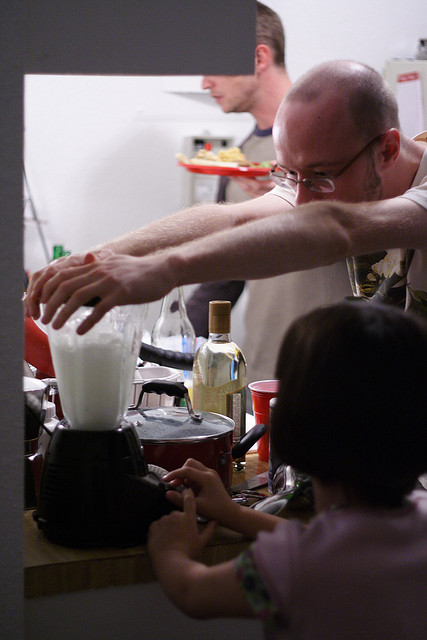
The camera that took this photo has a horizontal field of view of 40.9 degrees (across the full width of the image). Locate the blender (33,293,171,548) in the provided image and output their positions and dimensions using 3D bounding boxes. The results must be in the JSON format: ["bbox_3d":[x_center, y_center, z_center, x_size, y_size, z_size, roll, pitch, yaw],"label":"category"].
[{"bbox_3d":[-0.125,0.130,0.814,0.280,0.373,0.179,-1,2,-18],"label":"blender"}]

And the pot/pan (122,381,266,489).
[{"bbox_3d":[-0.017,0.145,0.775,0.181,0.097,0.131,3,0,7],"label":"pot/pan"}]
